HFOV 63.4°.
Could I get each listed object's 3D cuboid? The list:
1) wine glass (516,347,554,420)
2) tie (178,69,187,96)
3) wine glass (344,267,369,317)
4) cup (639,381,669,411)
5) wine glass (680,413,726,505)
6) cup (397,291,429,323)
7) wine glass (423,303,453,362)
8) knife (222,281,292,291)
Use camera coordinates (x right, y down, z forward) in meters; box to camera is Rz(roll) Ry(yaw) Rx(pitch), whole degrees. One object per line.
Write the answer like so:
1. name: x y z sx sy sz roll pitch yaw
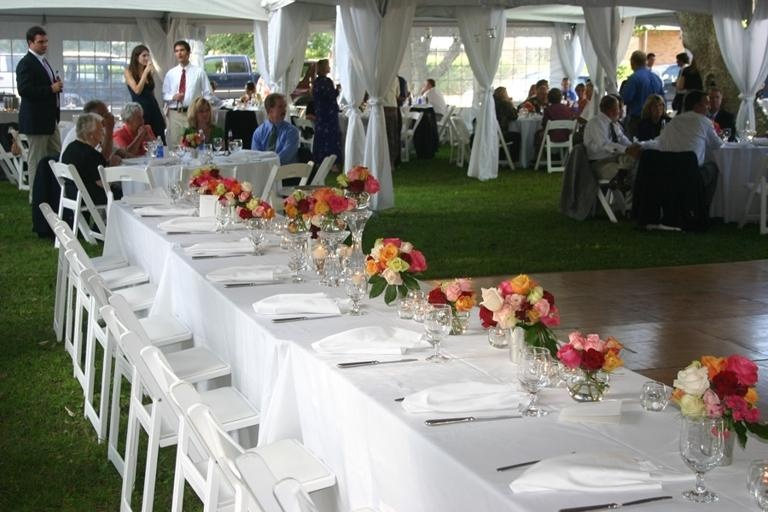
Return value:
1. wine glass: 0.543 0.427 2.248 0.108 0.231 0.204 2 13 14
2. tie: -3.634 -3.138 11.208 0.119 0.449 0.169 -2 12 -3
3. wine glass: -0.133 0.156 3.118 0.107 0.213 0.274 -2 13 -2
4. cup: 0.965 0.499 2.249 0.087 0.100 0.096 -1 8 2
5. wine glass: 0.937 0.578 1.836 0.113 0.212 0.215 6 15 30
6. cup: 0.131 0.241 2.919 0.111 0.107 0.137 1 1 1
7. wine glass: 0.225 0.303 2.613 0.098 0.233 0.217 -1 13 2
8. knife: -0.703 0.150 3.426 0.338 0.025 0.063 -5 14 -16
